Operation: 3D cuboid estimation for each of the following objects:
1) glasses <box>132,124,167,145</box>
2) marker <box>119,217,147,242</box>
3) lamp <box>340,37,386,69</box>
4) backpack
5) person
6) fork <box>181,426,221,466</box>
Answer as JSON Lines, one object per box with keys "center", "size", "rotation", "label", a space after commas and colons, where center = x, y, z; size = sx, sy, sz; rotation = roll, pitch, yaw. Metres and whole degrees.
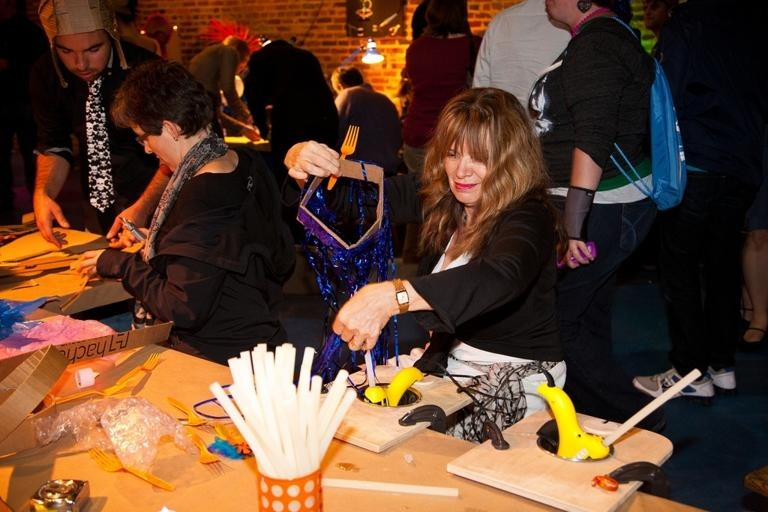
{"center": [-0.995, -0.521, 2.476], "size": [0.092, 0.029, 0.096], "rotation": [20, 34, 10], "label": "glasses"}
{"center": [-1.148, -0.123, 2.655], "size": [0.177, 0.031, 0.036], "rotation": [36, 49, -3], "label": "marker"}
{"center": [-0.314, -2.712, 7.810], "size": [0.644, 0.312, 0.280], "rotation": [-4, -2, 32], "label": "lamp"}
{"center": [1.208, -0.508, 2.484], "size": [0.200, 0.619, 0.122], "rotation": [10, 18, 20], "label": "backpack"}
{"center": [0.129, -0.147, 2.579], "size": [3.187, 0.853, 1.002], "rotation": [4, -27, 7], "label": "person"}
{"center": [-0.477, 0.500, 1.511], "size": [0.043, 0.026, 0.224], "rotation": [-19, 19, -21], "label": "fork"}
